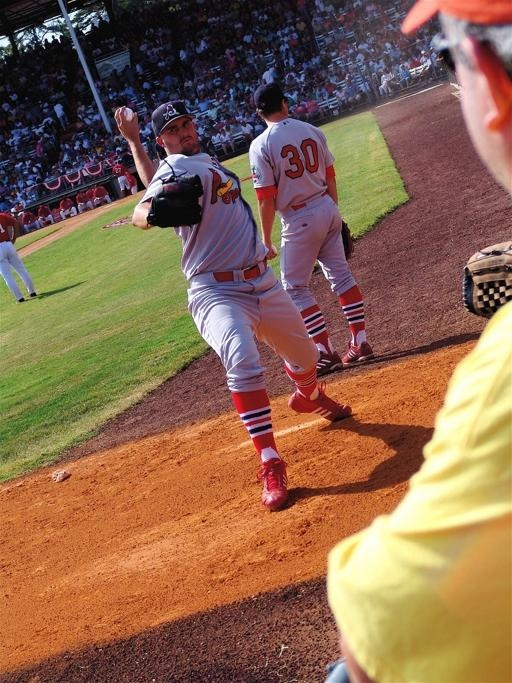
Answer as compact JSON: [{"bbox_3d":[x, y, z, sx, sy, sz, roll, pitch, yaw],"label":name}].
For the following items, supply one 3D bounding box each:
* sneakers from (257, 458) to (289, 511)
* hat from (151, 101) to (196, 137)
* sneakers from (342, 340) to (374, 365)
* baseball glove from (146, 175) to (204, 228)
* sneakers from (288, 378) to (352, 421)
[{"bbox_3d":[0.076,0.697,3.326,0.104,0.104,0.272,-15,36,9],"label":"sneakers"},{"bbox_3d":[-0.431,-1.115,3.483,0.160,0.103,0.202,-30,29,-13],"label":"hat"},{"bbox_3d":[0.720,0.090,4.865,0.114,0.105,0.248,-13,4,-27],"label":"sneakers"},{"bbox_3d":[-0.375,-0.628,3.208,0.247,0.131,0.280,1,45,-2],"label":"baseball glove"},{"bbox_3d":[0.443,0.363,4.011,0.473,0.210,0.138,13,38,-20],"label":"sneakers"}]
